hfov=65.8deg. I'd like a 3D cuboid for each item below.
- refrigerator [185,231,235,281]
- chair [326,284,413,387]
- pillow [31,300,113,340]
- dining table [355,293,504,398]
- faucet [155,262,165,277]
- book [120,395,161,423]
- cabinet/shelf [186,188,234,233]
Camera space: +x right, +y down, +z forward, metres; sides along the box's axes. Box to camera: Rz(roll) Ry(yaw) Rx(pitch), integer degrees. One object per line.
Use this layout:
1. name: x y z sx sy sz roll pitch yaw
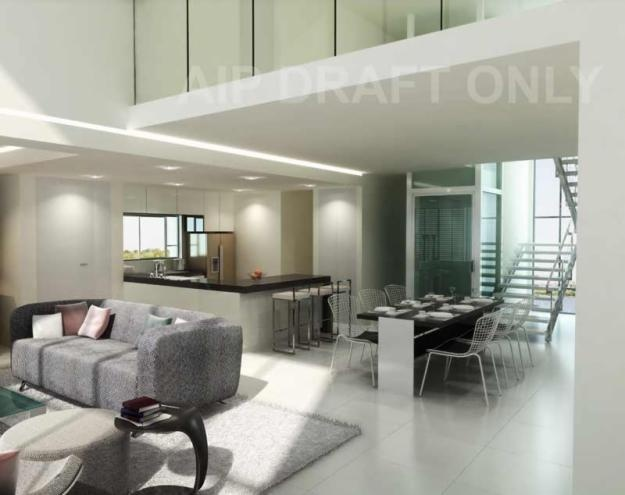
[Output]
1. refrigerator: -2.188 0.374 10.848 0.779 1.407 0.502 -4 7 -45
2. chair: 0.714 1.241 7.328 0.889 1.548 1.011 1 -2 -41
3. pillow: -3.070 0.946 6.102 0.537 0.212 0.536 1 18 -35
4. dining table: 1.602 1.208 6.509 1.016 0.883 2.307 4 5 38
5. faucet: -3.106 0.426 9.844 0.197 0.245 0.423 -1 4 -18
6. book: -1.258 1.181 3.582 0.184 0.098 0.175 2 -2 41
7. cabinet/shelf: -2.270 -0.804 10.442 0.257 0.754 0.828 7 7 42
